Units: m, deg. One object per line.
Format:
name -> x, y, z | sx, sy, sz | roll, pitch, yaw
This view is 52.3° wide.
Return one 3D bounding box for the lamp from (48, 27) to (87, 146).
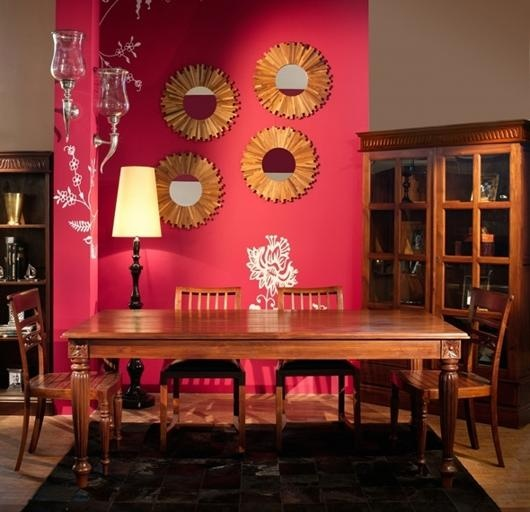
lamp -> -1.219, -1.099, 3.315 | 0.180, 0.739, 0.949 | -1, 3, -22
